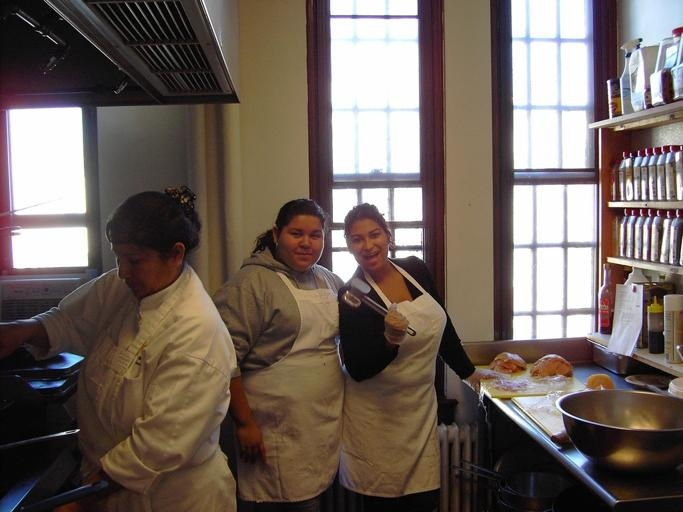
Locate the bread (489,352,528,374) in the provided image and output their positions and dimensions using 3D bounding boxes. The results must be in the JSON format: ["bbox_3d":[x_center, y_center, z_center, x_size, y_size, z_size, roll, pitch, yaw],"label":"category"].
[{"bbox_3d":[0.794,0.515,2.668,0.108,0.049,0.112,0,6,25],"label":"bread"}]

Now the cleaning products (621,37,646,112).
[{"bbox_3d":[1.317,-0.793,2.494,0.072,0.332,0.203,-1,0,-14],"label":"cleaning products"}]

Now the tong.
[{"bbox_3d":[0.120,0.188,2.171,0.407,0.138,0.071,44,7,17],"label":"tong"}]

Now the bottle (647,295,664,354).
[{"bbox_3d":[1.406,0.304,2.502,0.062,0.242,0.107,0,8,29],"label":"bottle"}]

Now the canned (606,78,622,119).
[{"bbox_3d":[1.300,-0.741,2.633,0.094,0.172,0.098,-7,12,7],"label":"canned"}]
